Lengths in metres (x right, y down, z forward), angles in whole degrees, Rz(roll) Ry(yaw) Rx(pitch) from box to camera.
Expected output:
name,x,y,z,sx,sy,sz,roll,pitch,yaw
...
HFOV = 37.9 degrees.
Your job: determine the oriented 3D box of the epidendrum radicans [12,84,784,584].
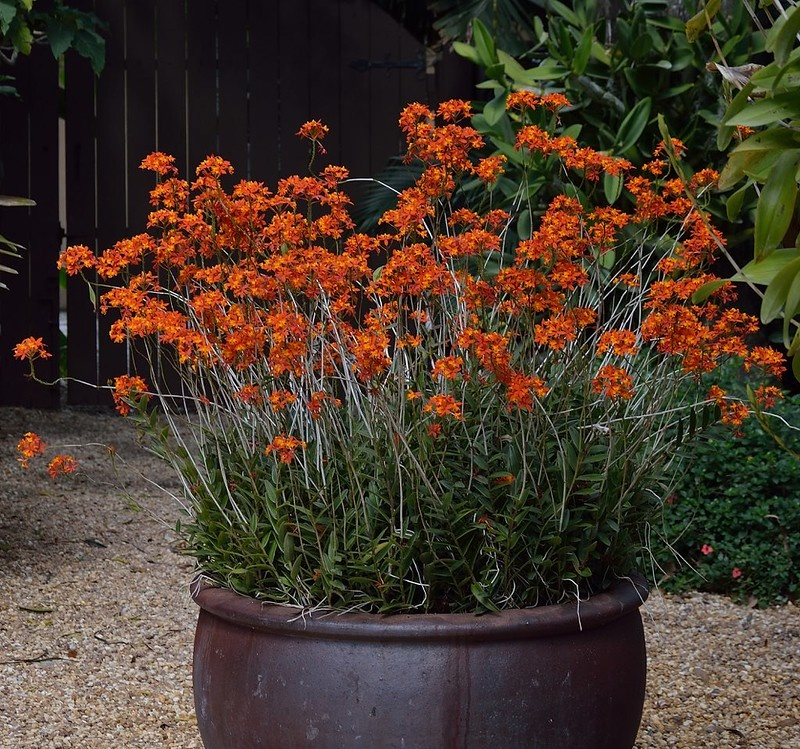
name,x,y,z,sx,sy,sz,roll,pitch,yaw
epidendrum radicans,0.021,-0.107,2.672,1.492,1.112,0.862,0,6,-16
